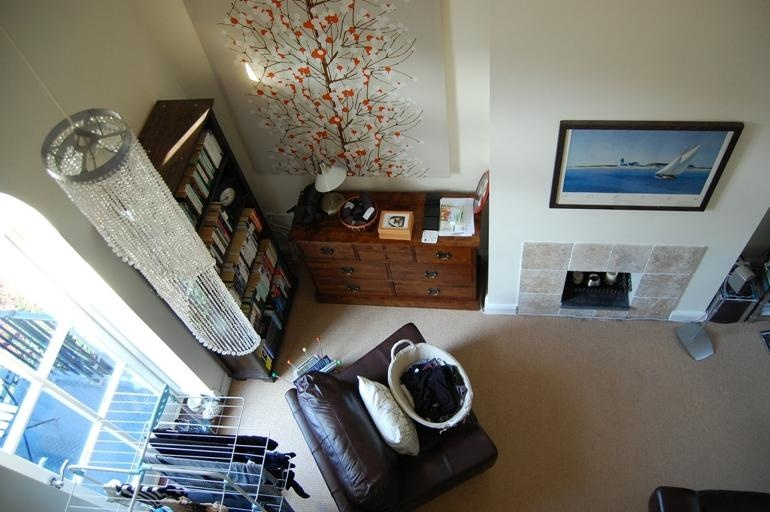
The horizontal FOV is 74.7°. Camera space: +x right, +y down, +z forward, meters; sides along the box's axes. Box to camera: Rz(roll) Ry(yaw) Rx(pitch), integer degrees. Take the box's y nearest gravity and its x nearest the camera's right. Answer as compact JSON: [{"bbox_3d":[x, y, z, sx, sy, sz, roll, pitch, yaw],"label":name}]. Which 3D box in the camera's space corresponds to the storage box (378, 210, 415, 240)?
[{"bbox_3d":[0.097,-0.281,4.733,0.314,0.158,0.253,3,45,11],"label":"storage box"}]

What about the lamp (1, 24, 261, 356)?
[{"bbox_3d":[-1.510,0.163,3.670,0.602,2.638,0.330,-34,50,-24],"label":"lamp"}]

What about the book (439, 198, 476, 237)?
[{"bbox_3d":[0.665,-0.356,4.738,0.352,0.085,0.343,0,59,4],"label":"book"}]

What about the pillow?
[{"bbox_3d":[0.025,1.257,4.060,0.336,0.249,0.698,-9,41,-30],"label":"pillow"}]

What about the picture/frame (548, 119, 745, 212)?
[{"bbox_3d":[2.025,-0.705,3.826,1.005,0.682,0.042,0,50,4],"label":"picture/frame"}]

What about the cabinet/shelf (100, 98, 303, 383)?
[{"bbox_3d":[-1.520,-0.121,4.081,0.573,2.473,1.375,-15,36,13],"label":"cabinet/shelf"}]

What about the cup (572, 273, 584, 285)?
[{"bbox_3d":[1.899,0.219,4.952,0.118,0.144,0.054,-8,45,0],"label":"cup"}]

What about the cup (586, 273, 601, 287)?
[{"bbox_3d":[2.047,0.242,4.928,0.123,0.107,0.129,-4,44,4],"label":"cup"}]
